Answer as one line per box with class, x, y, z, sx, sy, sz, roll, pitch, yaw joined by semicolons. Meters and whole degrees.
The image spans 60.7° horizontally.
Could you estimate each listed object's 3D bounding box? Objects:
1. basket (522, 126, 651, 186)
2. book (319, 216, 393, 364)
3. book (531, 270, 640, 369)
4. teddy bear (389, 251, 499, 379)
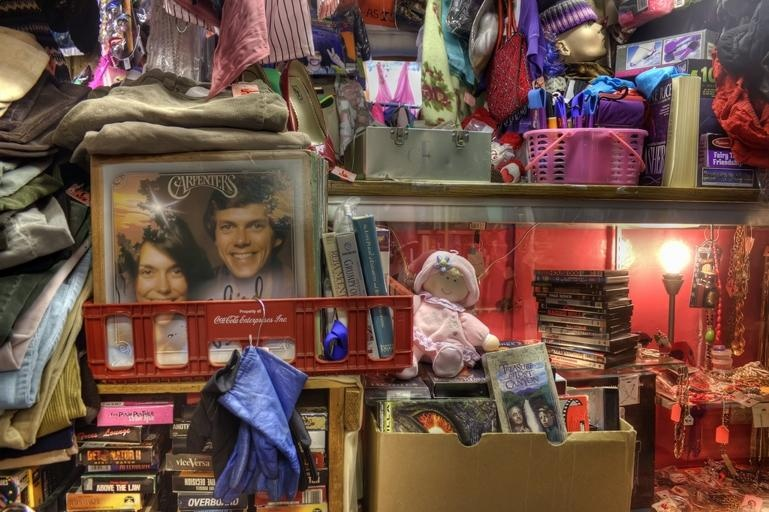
basket;0.722;-0.342;2.293;0.268;0.117;0.260;0;5;0
book;-0.078;0.101;1.919;0.265;0.378;0.099;-5;1;6
book;0.707;0.213;2.507;0.423;0.412;0.331;-1;2;3
teddy bear;0.207;0.192;2.338;0.406;0.444;0.383;7;0;9
